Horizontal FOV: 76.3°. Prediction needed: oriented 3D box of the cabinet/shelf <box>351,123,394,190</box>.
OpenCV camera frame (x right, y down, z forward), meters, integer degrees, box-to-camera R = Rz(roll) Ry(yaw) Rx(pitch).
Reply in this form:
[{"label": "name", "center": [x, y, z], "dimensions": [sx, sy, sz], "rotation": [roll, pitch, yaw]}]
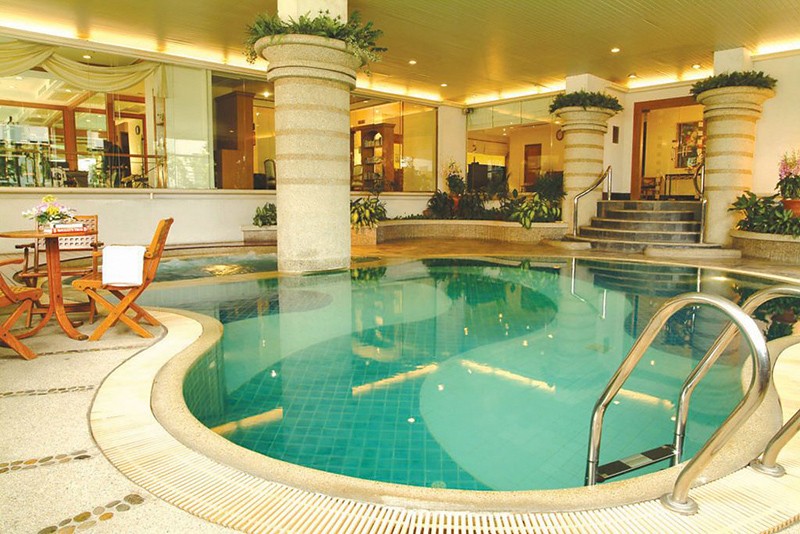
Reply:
[{"label": "cabinet/shelf", "center": [-0.995, -3.691, 16.922], "dimensions": [0.792, 2.212, 1.886], "rotation": [8, 15, 37]}]
